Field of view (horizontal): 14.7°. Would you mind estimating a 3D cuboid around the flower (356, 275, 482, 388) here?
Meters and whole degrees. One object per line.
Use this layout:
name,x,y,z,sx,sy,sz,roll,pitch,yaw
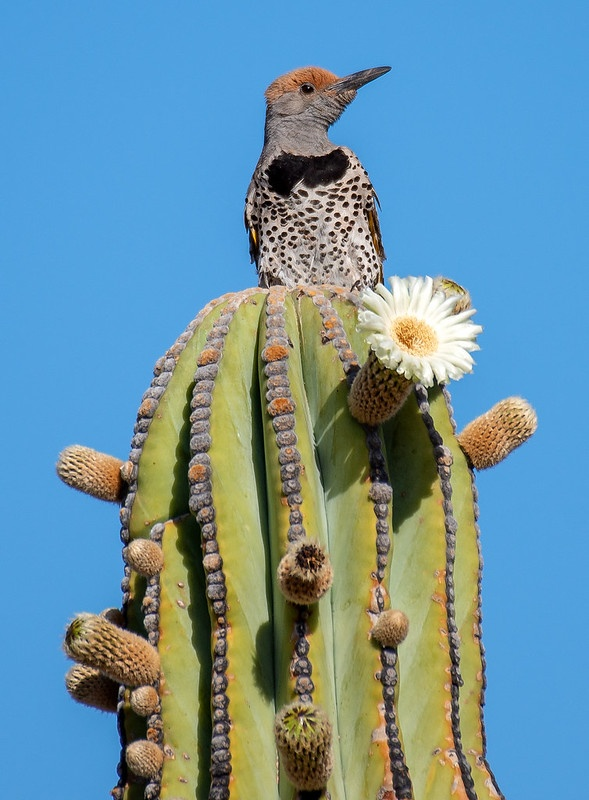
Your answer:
flower,0.324,-0.227,6.321,0.273,0.332,0.188,1,-74,11
